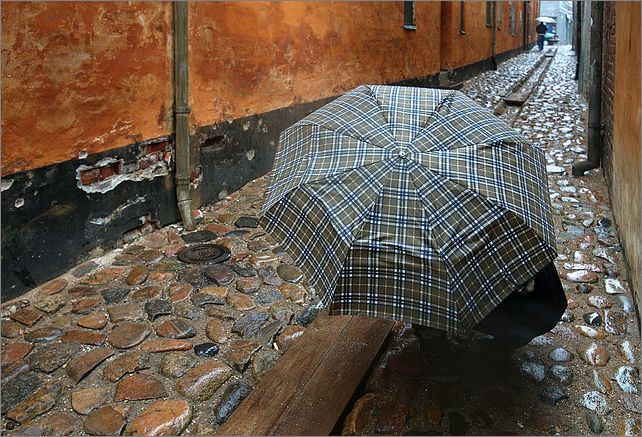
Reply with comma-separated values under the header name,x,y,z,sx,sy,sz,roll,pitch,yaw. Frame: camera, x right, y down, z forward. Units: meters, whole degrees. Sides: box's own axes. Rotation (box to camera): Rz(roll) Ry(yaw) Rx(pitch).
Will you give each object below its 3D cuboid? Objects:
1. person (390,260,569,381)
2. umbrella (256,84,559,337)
name,x,y,z,sx,sy,sz,roll,pitch,yaw
person,0.925,0.510,3.352,1.505,0.408,1.561,-1,12,25
umbrella,0.514,-0.086,2.524,1.677,1.137,0.937,-1,23,6
